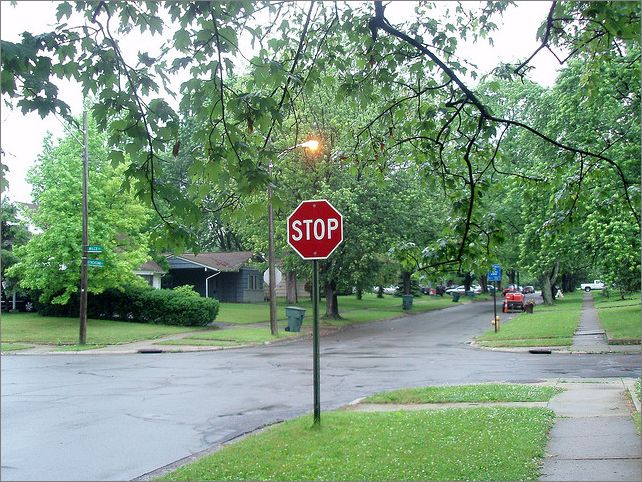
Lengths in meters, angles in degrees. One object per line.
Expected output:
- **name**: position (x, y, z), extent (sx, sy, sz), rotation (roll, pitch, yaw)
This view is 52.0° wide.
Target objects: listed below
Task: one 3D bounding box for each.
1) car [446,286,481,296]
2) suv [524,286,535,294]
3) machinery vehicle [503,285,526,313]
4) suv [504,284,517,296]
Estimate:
- **car**: position (19.533, 6.725, 90.037), extent (3.605, 1.241, 1.653), rotation (1, -2, 3)
- **suv**: position (41.909, 9.684, 132.947), extent (1.473, 1.098, 3.318), rotation (1, 2, 22)
- **machinery vehicle**: position (17.001, 5.030, 58.399), extent (1.904, 2.310, 4.266), rotation (-1, -7, 12)
- **suv**: position (22.271, 5.685, 77.843), extent (1.529, 1.269, 2.573), rotation (-1, -8, 3)
